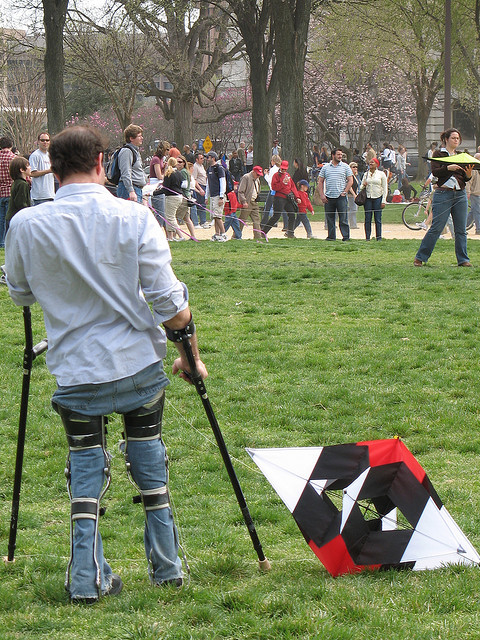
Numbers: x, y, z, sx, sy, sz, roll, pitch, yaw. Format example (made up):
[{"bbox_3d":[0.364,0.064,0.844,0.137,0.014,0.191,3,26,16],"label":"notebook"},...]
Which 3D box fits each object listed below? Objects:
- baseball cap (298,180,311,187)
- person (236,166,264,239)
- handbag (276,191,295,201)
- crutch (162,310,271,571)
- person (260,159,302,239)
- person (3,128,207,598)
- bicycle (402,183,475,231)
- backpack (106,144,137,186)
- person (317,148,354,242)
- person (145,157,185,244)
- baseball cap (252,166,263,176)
[{"bbox_3d":[1.107,-2.474,24.833,0.166,0.103,0.110,27,7,5],"label":"baseball cap"},{"bbox_3d":[0.154,-2.005,23.472,0.378,1.315,0.472,3,15,2],"label":"person"},{"bbox_3d":[0.790,-2.070,22.921,0.114,0.081,0.155,30,-6,-39],"label":"handbag"},{"bbox_3d":[-0.135,0.640,7.618,0.523,1.300,0.803,-3,19,-13],"label":"crutch"},{"bbox_3d":[0.600,-2.008,23.003,0.601,1.386,0.525,4,11,21],"label":"person"},{"bbox_3d":[-0.696,0.230,7.185,0.983,2.431,0.522,-2,10,-2],"label":"person"},{"bbox_3d":[3.671,-2.147,26.112,1.300,1.033,0.719,1,4,1],"label":"bicycle"},{"bbox_3d":[-1.498,-2.044,18.141,0.281,0.531,0.340,0,1,-17],"label":"backpack"},{"bbox_3d":[1.515,-1.988,22.421,0.520,1.574,1.178,-1,11,4],"label":"person"},{"bbox_3d":[-1.139,-1.941,21.686,0.473,1.420,0.475,-1,23,-12],"label":"person"},{"bbox_3d":[0.268,-2.517,23.121,0.114,0.107,0.185,3,25,-40],"label":"baseball cap"}]
